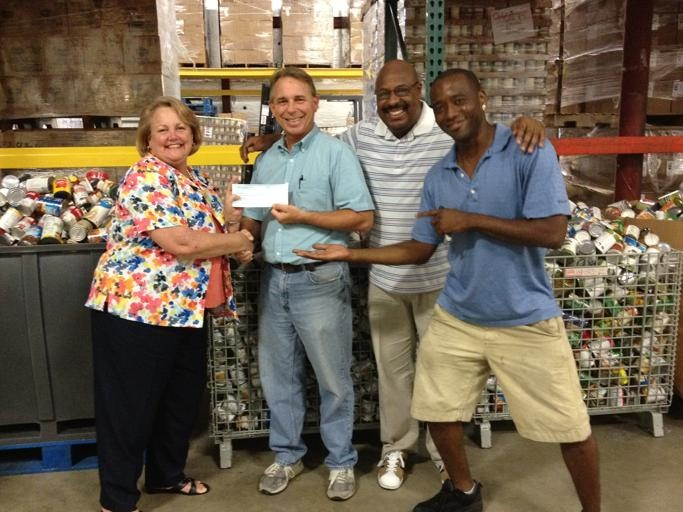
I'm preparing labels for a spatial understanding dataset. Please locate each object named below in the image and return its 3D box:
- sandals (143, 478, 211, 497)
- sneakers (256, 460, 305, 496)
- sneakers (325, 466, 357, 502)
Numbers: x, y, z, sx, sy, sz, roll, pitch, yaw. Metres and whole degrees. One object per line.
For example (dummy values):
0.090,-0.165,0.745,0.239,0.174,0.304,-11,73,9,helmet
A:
-1.001,1.418,3.482,0.398,0.067,0.135,-1,2,-10,sandals
-0.362,1.380,3.501,0.137,0.108,0.298,7,3,29,sneakers
0.014,1.366,3.464,0.159,0.109,0.340,0,12,10,sneakers
